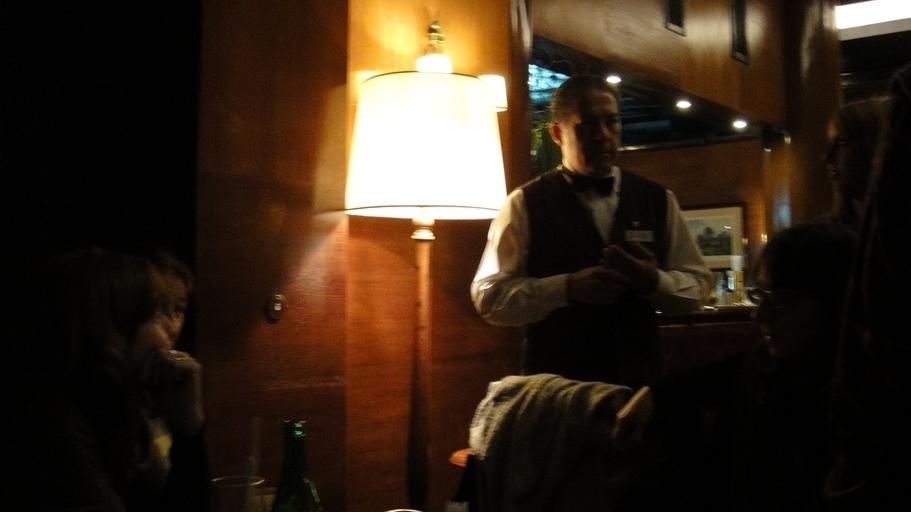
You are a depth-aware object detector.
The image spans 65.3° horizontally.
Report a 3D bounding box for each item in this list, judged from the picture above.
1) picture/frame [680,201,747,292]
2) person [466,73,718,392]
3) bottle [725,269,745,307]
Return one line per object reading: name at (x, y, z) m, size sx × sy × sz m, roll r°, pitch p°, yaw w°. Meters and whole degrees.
picture/frame at (0.677, -0.047, 1.888) m, size 0.008 × 0.166 × 0.192 m, roll -10°, pitch 8°, yaw -39°
person at (0.356, -0.073, 1.995) m, size 0.639 × 0.855 × 0.181 m, roll 0°, pitch 3°, yaw 36°
bottle at (0.732, 0.082, 1.855) m, size 0.039 × 0.087 × 0.014 m, roll -1°, pitch 3°, yaw 16°
